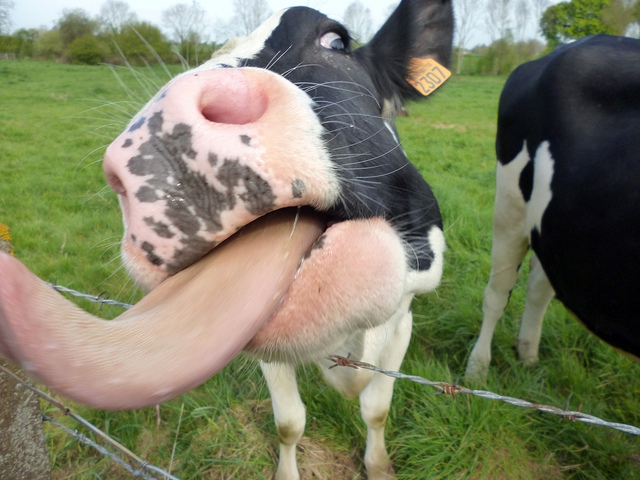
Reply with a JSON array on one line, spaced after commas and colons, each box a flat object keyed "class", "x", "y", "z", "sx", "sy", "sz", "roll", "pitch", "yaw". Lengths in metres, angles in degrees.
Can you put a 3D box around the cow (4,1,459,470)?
[{"class": "cow", "x": -0.173, "y": -0.209, "z": 2.376, "sx": 0.950, "sy": 1.443, "sz": 2.195, "roll": 12, "pitch": 29, "yaw": 37}]
